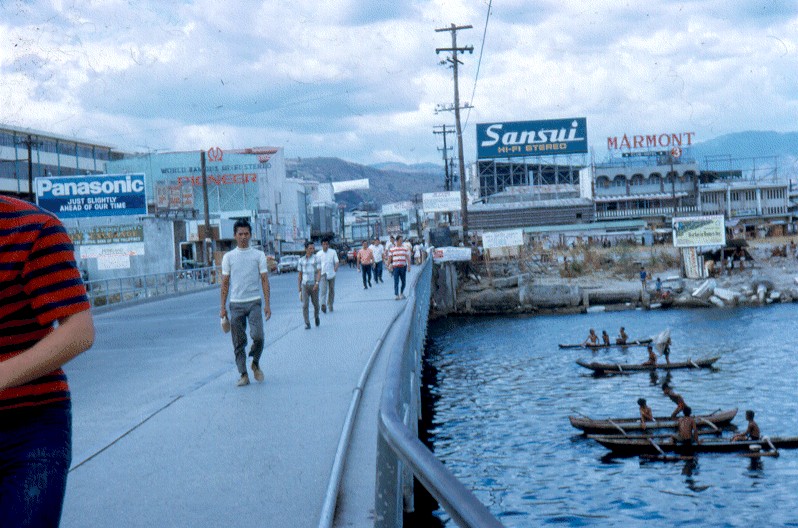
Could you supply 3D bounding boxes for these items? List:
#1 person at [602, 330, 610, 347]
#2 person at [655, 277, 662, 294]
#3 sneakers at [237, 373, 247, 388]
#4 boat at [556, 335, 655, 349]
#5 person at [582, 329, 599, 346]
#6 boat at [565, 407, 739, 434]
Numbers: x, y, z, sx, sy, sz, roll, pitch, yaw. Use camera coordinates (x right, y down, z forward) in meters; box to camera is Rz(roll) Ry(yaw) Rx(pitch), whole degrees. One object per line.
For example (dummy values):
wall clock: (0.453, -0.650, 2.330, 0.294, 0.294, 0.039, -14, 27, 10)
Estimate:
person: (11.499, 4.090, 39.973, 0.373, 0.778, 1.564, -3, 2, 16)
person: (20.468, 1.774, 56.836, 0.309, 0.291, 1.138, -15, -23, 6)
sneakers: (-2.852, 2.116, 13.160, 0.137, 0.144, 0.232, -1, -7, 8)
boat: (11.630, 4.378, 40.262, 4.399, 0.472, 0.632, -3, -6, -13)
person: (10.928, 4.232, 41.275, 0.826, 0.805, 0.545, 2, 5, 45)
boat: (7.848, 4.873, 22.227, 5.086, 0.714, 1.391, -4, 2, -11)
